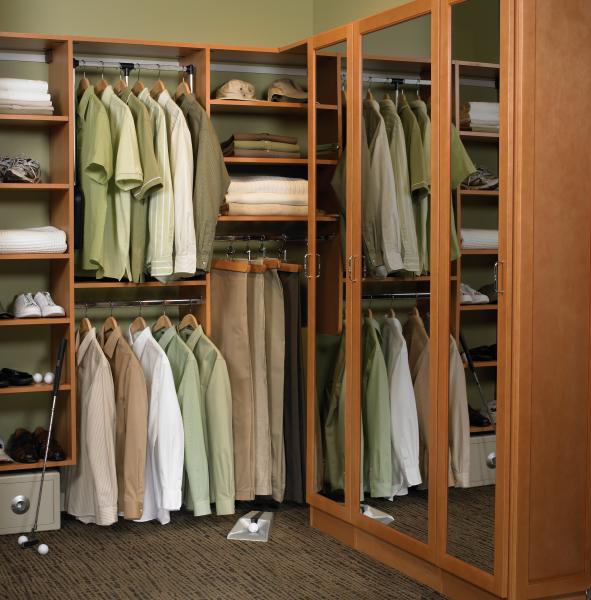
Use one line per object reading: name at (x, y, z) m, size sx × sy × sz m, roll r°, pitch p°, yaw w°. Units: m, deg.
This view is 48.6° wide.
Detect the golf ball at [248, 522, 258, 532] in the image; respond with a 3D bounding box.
golf ball at (-0.209, 1.119, 3.236) m, size 0.053 × 0.039 × 0.059 m, roll 1°, pitch 12°, yaw -2°

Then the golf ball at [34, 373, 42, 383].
golf ball at (-1.314, 0.392, 3.347) m, size 0.035 × 0.062 × 0.043 m, roll -1°, pitch 7°, yaw -8°

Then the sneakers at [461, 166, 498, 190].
sneakers at (0.632, -0.427, 2.244) m, size 0.035 × 0.068 × 0.116 m, roll -4°, pitch 8°, yaw -24°

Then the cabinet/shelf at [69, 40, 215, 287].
cabinet/shelf at (-0.790, -0.655, 3.354) m, size 0.893 × 1.669 × 0.349 m, roll 1°, pitch -3°, yaw -18°

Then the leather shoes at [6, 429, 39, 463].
leather shoes at (-1.421, 0.749, 3.391) m, size 0.101 × 0.176 × 0.356 m, roll 2°, pitch -2°, yaw -21°

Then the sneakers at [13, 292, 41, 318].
sneakers at (-1.341, 0.036, 3.254) m, size 0.071 × 0.127 × 0.253 m, roll 1°, pitch 0°, yaw -17°

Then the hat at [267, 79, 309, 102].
hat at (-0.057, -1.192, 3.751) m, size 0.143 × 0.071 × 0.145 m, roll -6°, pitch 12°, yaw -40°

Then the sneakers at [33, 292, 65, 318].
sneakers at (-1.242, 0.016, 3.304) m, size 0.082 × 0.130 × 0.257 m, roll 0°, pitch 5°, yaw -26°

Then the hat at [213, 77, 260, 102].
hat at (-0.345, -1.184, 3.723) m, size 0.230 × 0.119 × 0.261 m, roll -1°, pitch 13°, yaw -8°

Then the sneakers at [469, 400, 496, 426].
sneakers at (0.646, 0.401, 2.261) m, size 0.029 × 0.055 × 0.114 m, roll -1°, pitch 3°, yaw -4°

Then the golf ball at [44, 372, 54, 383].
golf ball at (-1.280, 0.396, 3.383) m, size 0.042 × 0.080 × 0.068 m, roll 2°, pitch -1°, yaw -9°

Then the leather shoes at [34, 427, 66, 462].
leather shoes at (-1.279, 0.738, 3.410) m, size 0.088 × 0.140 × 0.295 m, roll 2°, pitch 0°, yaw -28°
